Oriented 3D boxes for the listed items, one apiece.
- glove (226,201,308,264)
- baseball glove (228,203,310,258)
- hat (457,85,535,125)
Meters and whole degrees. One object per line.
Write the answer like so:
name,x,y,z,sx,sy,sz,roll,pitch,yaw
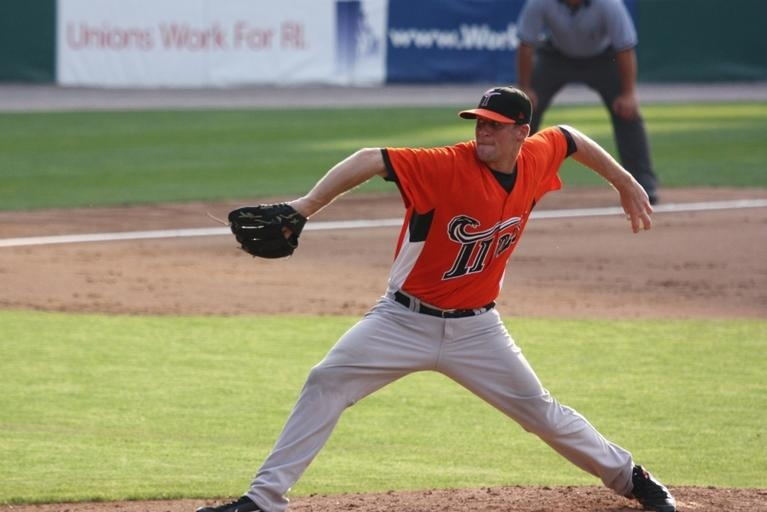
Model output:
glove,-0.876,-0.169,10.716,0.546,0.221,0.403,8,-30,5
baseball glove,-0.889,-0.198,10.814,0.608,0.239,0.475,10,-19,-18
hat,0.851,-1.106,10.897,0.502,0.216,0.287,9,3,-5
